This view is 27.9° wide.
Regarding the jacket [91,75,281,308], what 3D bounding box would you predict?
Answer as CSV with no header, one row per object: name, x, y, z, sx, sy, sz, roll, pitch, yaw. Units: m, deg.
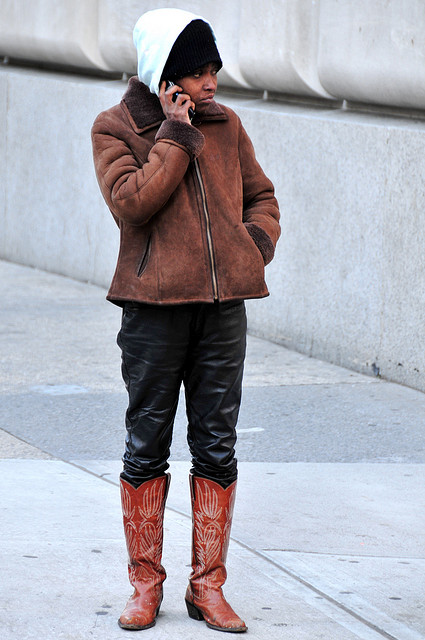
jacket,-0.037,-0.350,2.447,0.600,0.647,0.365,-4,10,-42

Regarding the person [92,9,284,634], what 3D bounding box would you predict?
person,-0.059,0.016,2.445,0.571,1.715,0.451,0,8,-17

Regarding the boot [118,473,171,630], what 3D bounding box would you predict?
boot,-0.198,0.655,2.418,0.134,0.402,0.161,2,8,-4

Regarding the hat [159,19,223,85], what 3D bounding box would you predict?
hat,-0.036,-0.712,2.328,0.097,0.177,0.201,10,10,43

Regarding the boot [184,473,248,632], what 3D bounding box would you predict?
boot,0.015,0.662,2.455,0.162,0.417,0.223,2,8,-7

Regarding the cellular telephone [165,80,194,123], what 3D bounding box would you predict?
cellular telephone,-0.088,-0.592,2.351,0.071,0.097,0.140,4,8,8
